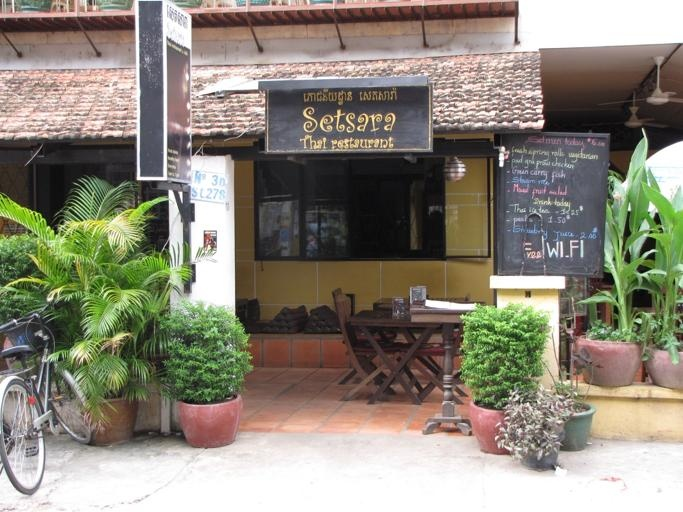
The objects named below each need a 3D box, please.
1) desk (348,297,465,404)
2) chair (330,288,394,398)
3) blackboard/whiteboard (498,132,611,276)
[{"bbox_3d":[0.869,1.351,9.803,1.948,1.350,1.717,0,-2,-9],"label":"desk"},{"bbox_3d":[0.245,1.270,10.236,1.309,1.953,1.027,1,2,7],"label":"chair"},{"bbox_3d":[2.516,-0.570,8.065,1.586,2.163,0.103,1,-3,1],"label":"blackboard/whiteboard"}]
